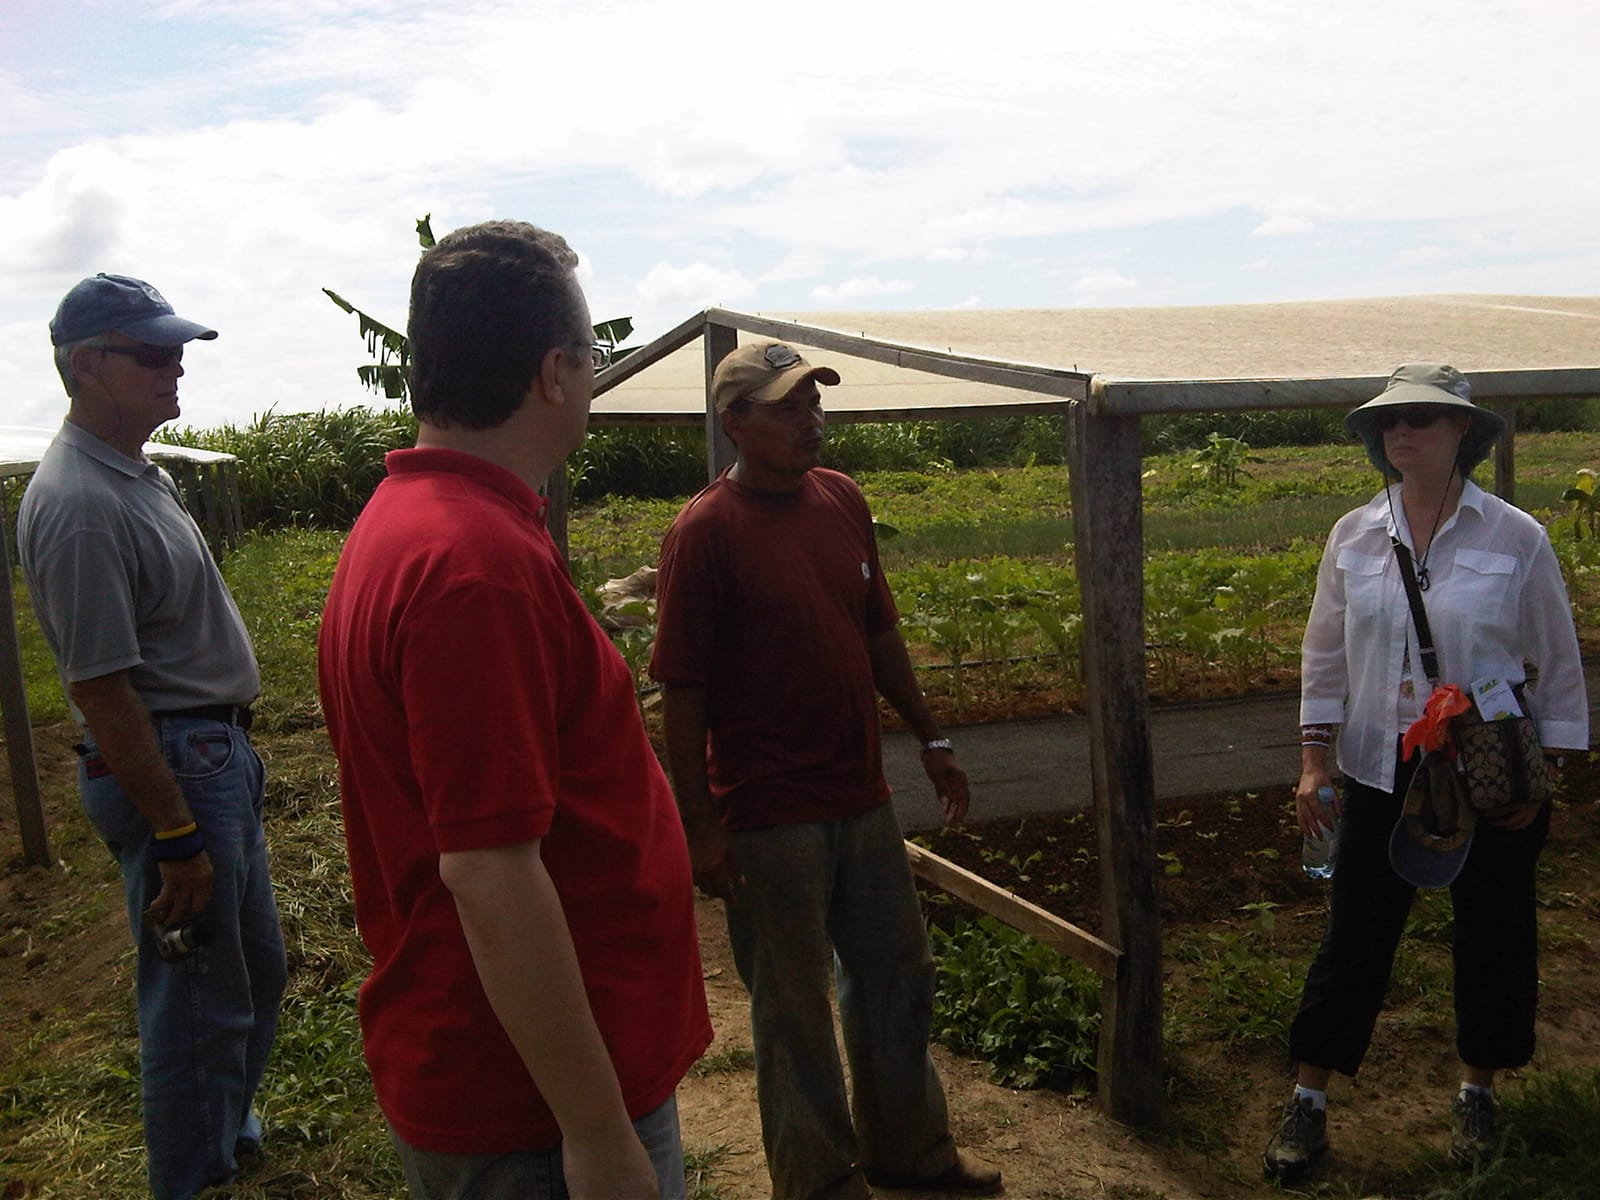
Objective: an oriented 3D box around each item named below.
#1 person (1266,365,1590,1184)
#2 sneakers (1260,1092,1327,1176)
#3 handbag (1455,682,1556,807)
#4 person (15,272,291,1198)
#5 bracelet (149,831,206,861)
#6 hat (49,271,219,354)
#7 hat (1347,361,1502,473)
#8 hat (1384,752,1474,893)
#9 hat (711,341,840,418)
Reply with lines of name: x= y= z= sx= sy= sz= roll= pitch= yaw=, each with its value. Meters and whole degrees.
person: x=2.005 y=0.563 z=3.852 sx=0.891 sy=2.564 sz=0.733 roll=1 pitch=12 yaw=15
sneakers: x=1.651 y=1.740 z=3.987 sx=0.125 sy=0.144 sz=0.334 roll=-6 pitch=6 yaw=36
handbag: x=2.113 y=0.438 z=3.608 sx=0.257 sy=0.369 sz=0.130 roll=-3 pitch=-5 yaw=3
person: x=-1.895 y=0.401 z=3.536 sx=0.566 sy=2.658 sz=0.656 roll=-7 pitch=13 yaw=-26
bracelet: x=-1.731 y=0.683 z=3.343 sx=0.101 sy=0.073 sz=0.088 roll=-11 pitch=16 yaw=-37
hat: x=-2.027 y=-0.875 z=3.643 sx=0.455 sy=0.220 sz=0.295 roll=-5 pitch=9 yaw=-8
hat: x=2.036 y=-0.662 z=3.884 sx=0.400 sy=0.221 sz=0.443 roll=7 pitch=2 yaw=39
hat: x=1.918 y=0.693 z=3.640 sx=0.210 sy=0.466 sz=0.166 roll=6 pitch=14 yaw=34
hat: x=-0.087 y=-0.706 z=3.767 sx=0.333 sy=0.173 sz=0.258 roll=-9 pitch=11 yaw=26
